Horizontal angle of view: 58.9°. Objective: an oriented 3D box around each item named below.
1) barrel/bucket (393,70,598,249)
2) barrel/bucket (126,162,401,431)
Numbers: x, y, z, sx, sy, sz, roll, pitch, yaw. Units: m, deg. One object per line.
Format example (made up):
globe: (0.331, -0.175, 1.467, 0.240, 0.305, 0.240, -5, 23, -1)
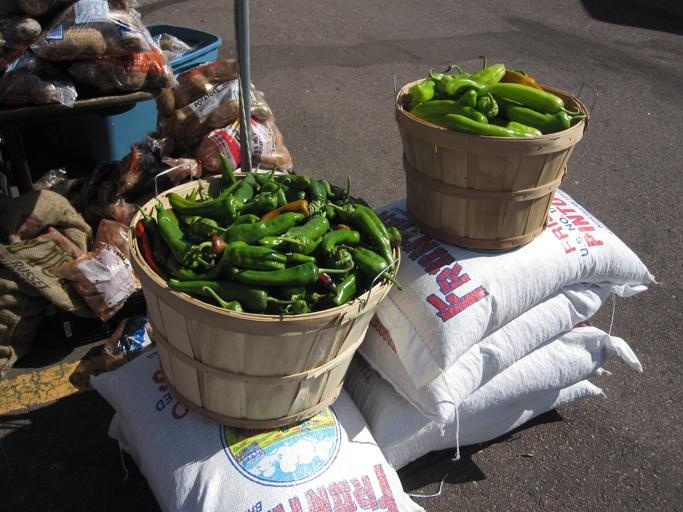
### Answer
barrel/bucket: (1.000, -0.652, 4.166, 1.178, 0.797, 1.233, 2, 30, -1)
barrel/bucket: (-0.408, 0.338, 4.057, 1.516, 1.335, 1.425, 2, 36, -2)
